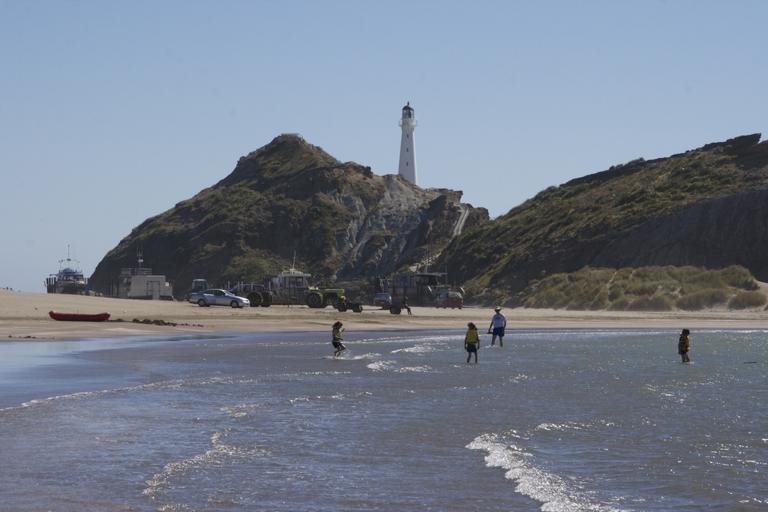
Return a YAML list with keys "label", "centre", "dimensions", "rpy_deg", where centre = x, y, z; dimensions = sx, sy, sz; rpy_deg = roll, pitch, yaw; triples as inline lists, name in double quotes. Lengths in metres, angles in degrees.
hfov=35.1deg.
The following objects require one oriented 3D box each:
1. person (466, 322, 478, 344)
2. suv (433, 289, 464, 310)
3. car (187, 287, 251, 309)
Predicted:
- label: "person"
  centre: [4.473, 3.874, 61.604]
  dimensions: [0.574, 1.044, 0.577]
  rpy_deg: [0, 9, -7]
- label: "suv"
  centre: [5.676, 3.888, 107.206]
  dimensions: [1.372, 1.354, 2.307]
  rpy_deg: [-7, 12, -44]
- label: "car"
  centre: [-12.874, 3.353, 95.958]
  dimensions: [4.311, 1.103, 1.756]
  rpy_deg: [-2, -2, 20]
